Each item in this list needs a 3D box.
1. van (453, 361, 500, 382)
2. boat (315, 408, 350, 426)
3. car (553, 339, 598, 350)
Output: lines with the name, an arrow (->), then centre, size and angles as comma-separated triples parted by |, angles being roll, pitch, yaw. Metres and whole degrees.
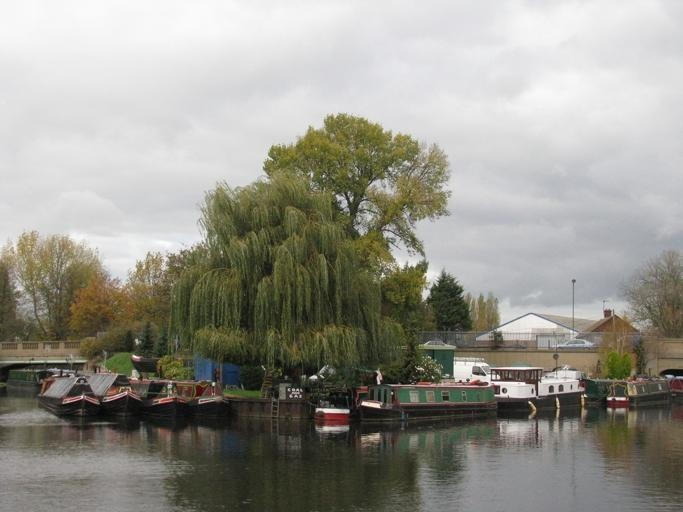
van -> 11.111, 9.807, 87.890 | 2.359, 1.507, 1.600 | -3, 1, 14
boat -> -0.628, 11.005, 71.157 | 2.374, 1.025, 1.471 | 1, 3, 0
car -> 24.892, 9.226, 107.765 | 2.914, 0.950, 1.953 | 1, -4, 4
